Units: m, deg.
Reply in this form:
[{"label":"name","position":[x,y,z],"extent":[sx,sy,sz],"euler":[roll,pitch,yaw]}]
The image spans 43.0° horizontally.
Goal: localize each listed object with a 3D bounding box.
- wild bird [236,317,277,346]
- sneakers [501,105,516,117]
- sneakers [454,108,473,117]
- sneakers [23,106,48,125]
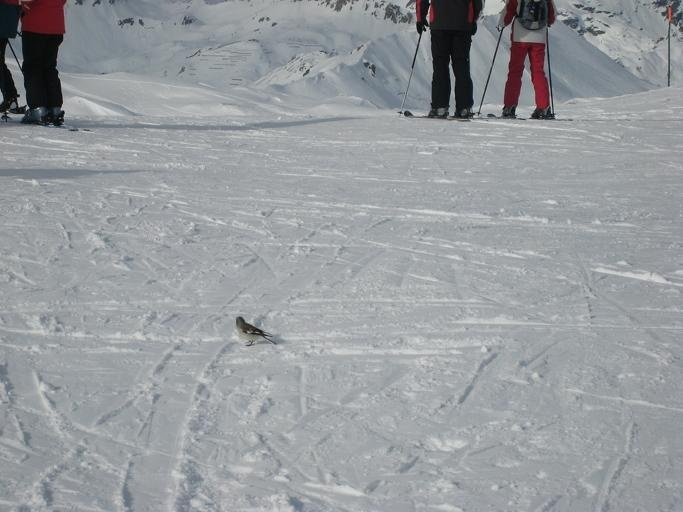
[{"label":"wild bird","position":[-0.490,0.418,4.943],"extent":[0.213,0.151,0.182],"euler":[0,13,-8]},{"label":"sneakers","position":[2.264,-1.985,11.978],"extent":[0.149,0.145,0.185],"euler":[-3,5,-22]},{"label":"sneakers","position":[1.572,-1.899,11.526],"extent":[0.129,0.071,0.176],"euler":[-2,6,-9]},{"label":"sneakers","position":[-3.461,-1.605,9.976],"extent":[0.314,0.144,0.166],"euler":[14,14,19]}]
